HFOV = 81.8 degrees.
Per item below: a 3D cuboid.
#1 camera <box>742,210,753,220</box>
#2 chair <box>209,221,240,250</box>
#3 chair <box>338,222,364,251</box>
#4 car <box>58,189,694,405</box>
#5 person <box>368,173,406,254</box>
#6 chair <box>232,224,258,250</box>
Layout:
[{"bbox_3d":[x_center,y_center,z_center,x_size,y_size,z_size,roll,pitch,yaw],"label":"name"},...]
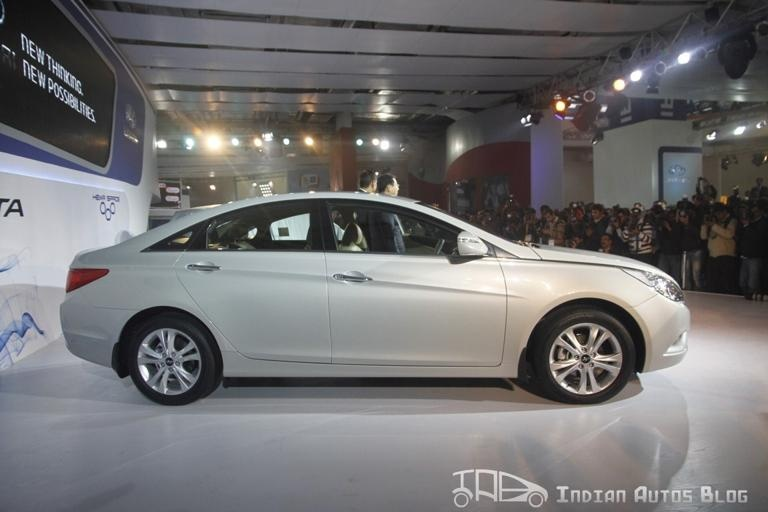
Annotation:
[{"bbox_3d":[6.900,-0.767,8.391,0.125,0.260,0.172,3,-3,12],"label":"camera"},{"bbox_3d":[-1.679,-0.198,4.579,0.309,0.330,0.197,1,3,-26],"label":"chair"},{"bbox_3d":[-0.344,-0.195,4.712,0.208,0.322,0.158,-9,-8,-26],"label":"chair"},{"bbox_3d":[-0.093,0.492,5.329,5.885,2.175,2.705,-1,-2,1],"label":"car"},{"bbox_3d":[0.069,-0.260,4.869,0.303,1.331,0.525,-1,18,0],"label":"person"},{"bbox_3d":[-1.445,-0.176,4.609,0.235,0.261,0.193,0,-4,-15],"label":"chair"}]
